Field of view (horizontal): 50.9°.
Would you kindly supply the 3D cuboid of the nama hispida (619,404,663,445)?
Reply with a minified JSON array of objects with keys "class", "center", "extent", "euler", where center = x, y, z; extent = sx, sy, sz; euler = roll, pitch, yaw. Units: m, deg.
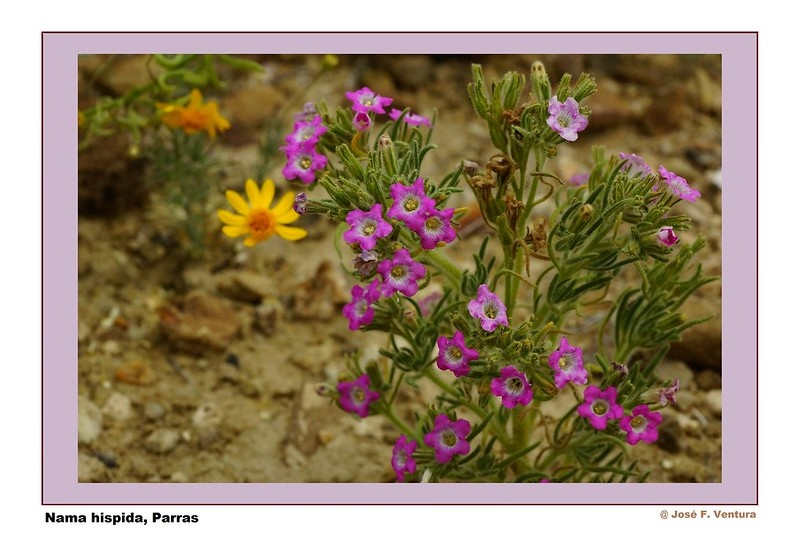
[{"class":"nama hispida","center":[1.078,0.711,3.782],"extent":[0.179,0.185,0.088],"euler":[-11,2,-9]}]

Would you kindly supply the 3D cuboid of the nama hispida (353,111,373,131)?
[{"class":"nama hispida","center":[-0.171,-0.661,3.811],"extent":[0.069,0.100,0.099],"euler":[-18,40,-18]}]

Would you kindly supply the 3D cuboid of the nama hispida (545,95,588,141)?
[{"class":"nama hispida","center":[0.711,-0.639,3.613],"extent":[0.168,0.165,0.200],"euler":[3,38,8]}]

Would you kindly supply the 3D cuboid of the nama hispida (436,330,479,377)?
[{"class":"nama hispida","center":[0.251,0.377,3.678],"extent":[0.181,0.173,0.129],"euler":[-1,37,3]}]

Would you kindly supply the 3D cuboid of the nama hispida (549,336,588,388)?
[{"class":"nama hispida","center":[0.726,0.427,3.663],"extent":[0.171,0.206,0.160],"euler":[-7,37,-5]}]

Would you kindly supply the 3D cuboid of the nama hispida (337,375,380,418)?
[{"class":"nama hispida","center":[-0.213,0.630,4.124],"extent":[0.168,0.178,0.166],"euler":[22,44,29]}]

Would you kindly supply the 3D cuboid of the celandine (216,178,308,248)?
[{"class":"celandine","center":[-0.768,-0.282,4.468],"extent":[0.461,0.374,0.209],"euler":[-5,7,-13]}]

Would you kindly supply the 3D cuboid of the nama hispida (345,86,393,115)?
[{"class":"nama hispida","center":[-0.146,-0.747,3.884],"extent":[0.192,0.167,0.244],"euler":[-6,38,-3]}]

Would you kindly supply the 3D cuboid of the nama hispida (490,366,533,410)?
[{"class":"nama hispida","center":[0.479,0.515,3.629],"extent":[0.175,0.143,0.131],"euler":[-12,38,-11]}]

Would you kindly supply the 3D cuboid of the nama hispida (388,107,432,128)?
[{"class":"nama hispida","center":[0.044,-0.699,3.862],"extent":[0.158,0.041,0.163],"euler":[16,-4,26]}]

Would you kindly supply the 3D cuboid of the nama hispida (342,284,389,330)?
[{"class":"nama hispida","center":[-0.159,0.171,3.836],"extent":[0.202,0.208,0.063],"euler":[-10,-17,42]}]

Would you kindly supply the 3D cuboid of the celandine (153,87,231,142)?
[{"class":"celandine","center":[-1.108,-0.807,4.461],"extent":[0.157,0.249,0.317],"euler":[6,18,31]}]

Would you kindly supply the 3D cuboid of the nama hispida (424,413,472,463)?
[{"class":"nama hispida","center":[0.216,0.772,3.832],"extent":[0.226,0.208,0.070],"euler":[-32,-12,4]}]

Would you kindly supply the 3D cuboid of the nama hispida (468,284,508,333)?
[{"class":"nama hispida","center":[0.378,0.167,3.668],"extent":[0.175,0.188,0.234],"euler":[-1,38,4]}]

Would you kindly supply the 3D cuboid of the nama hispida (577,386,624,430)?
[{"class":"nama hispida","center":[0.899,0.635,3.777],"extent":[0.204,0.107,0.224],"euler":[7,41,40]}]

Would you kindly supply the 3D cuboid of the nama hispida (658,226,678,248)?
[{"class":"nama hispida","center":[1.182,-0.138,3.705],"extent":[0.090,0.077,0.068],"euler":[-9,38,-7]}]

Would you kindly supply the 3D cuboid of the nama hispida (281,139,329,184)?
[{"class":"nama hispida","center":[-0.431,-0.468,3.814],"extent":[0.201,0.161,0.166],"euler":[-8,38,-6]}]
